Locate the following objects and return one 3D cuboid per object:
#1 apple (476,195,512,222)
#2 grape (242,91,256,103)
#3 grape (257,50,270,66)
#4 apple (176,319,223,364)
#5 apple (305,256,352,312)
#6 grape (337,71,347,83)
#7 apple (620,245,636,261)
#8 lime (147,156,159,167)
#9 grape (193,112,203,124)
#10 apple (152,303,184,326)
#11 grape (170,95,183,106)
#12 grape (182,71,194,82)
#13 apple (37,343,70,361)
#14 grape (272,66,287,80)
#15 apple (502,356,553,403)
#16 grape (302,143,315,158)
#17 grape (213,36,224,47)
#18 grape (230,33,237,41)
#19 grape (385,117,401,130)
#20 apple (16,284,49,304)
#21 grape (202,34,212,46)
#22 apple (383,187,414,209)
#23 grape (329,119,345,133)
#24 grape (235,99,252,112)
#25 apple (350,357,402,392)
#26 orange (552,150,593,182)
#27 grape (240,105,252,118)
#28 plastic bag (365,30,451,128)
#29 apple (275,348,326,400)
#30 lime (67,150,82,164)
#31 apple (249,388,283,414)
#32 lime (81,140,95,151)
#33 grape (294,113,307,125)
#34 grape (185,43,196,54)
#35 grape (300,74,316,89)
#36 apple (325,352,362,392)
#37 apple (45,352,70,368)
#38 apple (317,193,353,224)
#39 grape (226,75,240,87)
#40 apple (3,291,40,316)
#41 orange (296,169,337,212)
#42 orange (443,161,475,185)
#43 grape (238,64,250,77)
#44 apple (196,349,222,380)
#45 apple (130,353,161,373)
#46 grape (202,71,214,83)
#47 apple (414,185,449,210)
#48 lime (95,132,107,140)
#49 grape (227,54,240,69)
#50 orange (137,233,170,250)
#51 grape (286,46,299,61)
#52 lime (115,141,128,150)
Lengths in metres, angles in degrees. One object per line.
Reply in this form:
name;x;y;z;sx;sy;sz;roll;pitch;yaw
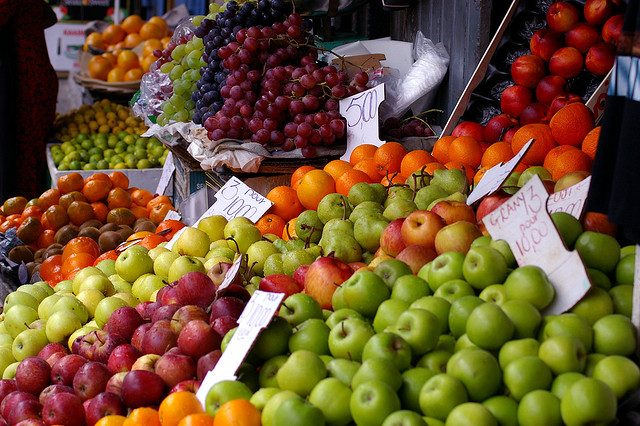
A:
apple;0.750;-0.025;2.381;0.092;0.133;0.101;11;-15;-1
grape;-0.448;-0.731;3.501;0.062;0.089;0.070;-6;25;4
grape;-0.364;-1.002;3.601;0.065;0.087;0.075;14;37;16
apple;-0.449;0.447;2.128;0.138;0.151;0.165;21;21;33
apple;0.023;0.271;2.327;0.180;0.201;0.188;34;2;16
grape;0.139;-0.870;3.606;0.060;0.082;0.062;-18;14;-31
apple;1.194;0.148;2.144;0.050;0.070;0.054;-2;18;37
lime;-1.686;-0.522;5.593;0.080;0.098;0.107;4;-21;-4
grape;-0.828;-0.633;3.733;0.060;0.086;0.065;3;14;28
apple;-0.624;0.403;2.241;0.097;0.098;0.088;-3;-19;-21
grape;-1.030;-0.797;3.953;0.079;0.076;0.076;18;40;14
grape;-0.948;-0.971;3.948;0.053;0.049;0.075;-2;8;-2
apple;-1.156;0.591;2.371;0.087;0.086;0.076;-14;2;-18
grape;-0.256;-0.870;3.473;0.068;0.091;0.083;7;65;11
apple;0.682;0.523;1.846;0.120;0.163;0.133;-5;27;36
grape;-0.073;-0.378;3.419;0.070;0.097;0.077;-1;17;-15
grape;-0.672;-1.122;3.654;0.057;0.081;0.062;-8;11;-7
grape;-0.571;-1.142;3.619;0.062;0.044;0.023;21;36;37
grape;0.485;-0.583;3.662;0.073;0.088;0.095;-4;-2;-15
apple;-1.426;0.403;2.750;0.076;0.083;0.122;-2;-5;-14
grape;-0.776;-1.168;3.772;0.056;0.060;0.061;28;24;-10
apple;0.399;-0.088;2.773;0.108;0.109;0.107;-10;50;14
grape;0.099;-0.528;3.433;0.085;0.081;0.071;19;-31;-41
grape;-0.491;-0.682;3.516;0.070;0.076;0.098;7;61;16
apple;0.188;0.523;1.853;0.106;0.131;0.112;1;-21;-39
orange;1.191;-0.195;2.668;0.157;0.180;0.163;-22;20;-36
grape;-0.463;-0.628;3.450;0.057;0.081;0.061;5;6;42
plastic bag;0.643;-0.966;4.083;0.801;0.461;0.378;-30;37;-36
apple;-0.061;0.555;1.884;0.169;0.107;0.101;-11;30;-11
lime;-2.443;-0.549;5.483;0.105;0.156;0.118;-8;4;4
apple;-0.174;0.630;1.885;0.075;0.077;0.084;-2;62;-22
lime;-2.440;-0.707;5.853;0.096;0.113;0.125;-18;4;8
grape;-0.124;-0.581;3.487;0.061;0.081;0.069;15;38;-7
grape;-0.937;-1.168;3.956;0.068;0.060;0.055;-6;31;44
grape;-0.075;-0.810;3.465;0.098;0.086;0.048;-6;28;-3
apple;0.101;0.548;1.922;0.086;0.117;0.085;6;4;31
apple;-1.096;0.598;2.299;0.068;0.063;0.055;-28;20;-32
apple;0.065;-0.024;2.747;0.129;0.154;0.147;5;20;7
grape;-0.556;-0.825;3.488;0.061;0.061;0.034;45;9;-1
apple;-1.440;0.465;2.661;0.141;0.132;0.114;9;-24;-40
orange;-0.068;-0.133;3.100;0.175;0.234;0.185;14;6;28
orange;0.730;-0.241;2.906;0.164;0.111;0.245;4;32;15
grape;-0.480;-0.896;3.504;0.054;0.079;0.061;-2;11;1
apple;-0.392;0.553;2.034;0.082;0.094;0.118;4;63;-2
apple;-0.646;0.558;2.057;0.067;0.073;0.070;14;25;10
grape;-0.753;-0.903;3.713;0.059;0.083;0.061;-6;10;-27
apple;0.523;-0.076;2.623;0.116;0.138;0.116;35;5;-4
lime;-2.402;-0.846;6.071;0.063;0.072;0.080;25;13;14
grape;-0.545;-0.943;3.487;0.070;0.073;0.088;-38;12;26
orange;-0.972;0.164;3.203;0.108;0.071;0.092;-2;1;-25
grape;-0.177;-1.035;3.595;0.066;0.092;0.072;12;33;34
lime;-2.147;-0.746;5.971;0.092;0.126;0.094;-12;24;-32
